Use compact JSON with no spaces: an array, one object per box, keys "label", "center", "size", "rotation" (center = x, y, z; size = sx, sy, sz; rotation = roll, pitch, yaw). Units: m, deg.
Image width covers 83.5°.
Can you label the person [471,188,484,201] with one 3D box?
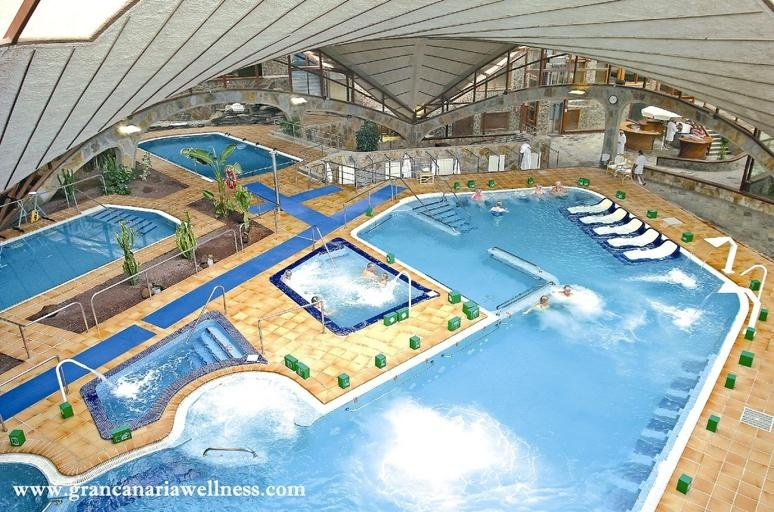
[{"label":"person","center":[4.588,-2.844,22.153],"size":[0.790,0.789,0.432],"rotation":[-2,44,1]}]

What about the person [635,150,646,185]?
[{"label":"person","center":[13.929,-4.538,23.922],"size":[0.640,1.798,1.506],"rotation":[7,13,27]}]

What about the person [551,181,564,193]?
[{"label":"person","center":[8.966,-3.266,22.780],"size":[0.867,0.534,0.485],"rotation":[-1,11,-14]}]

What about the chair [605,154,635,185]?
[{"label":"chair","center":[12.972,-4.451,24.313],"size":[1.178,1.286,1.814],"rotation":[-19,33,-12]}]

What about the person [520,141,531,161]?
[{"label":"person","center":[7.903,-5.637,24.842],"size":[0.785,0.825,0.284],"rotation":[3,6,-1]}]
